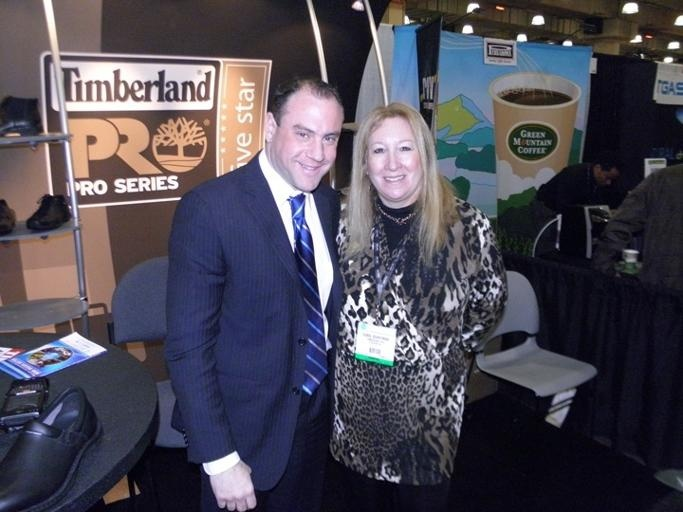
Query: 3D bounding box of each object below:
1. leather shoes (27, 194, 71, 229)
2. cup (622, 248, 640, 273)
[{"bbox_3d":[-1.738,-0.261,3.205,0.121,0.154,0.317,1,12,-3],"label":"leather shoes"},{"bbox_3d":[1.981,0.029,3.704,0.147,0.163,0.150,0,1,0],"label":"cup"}]
